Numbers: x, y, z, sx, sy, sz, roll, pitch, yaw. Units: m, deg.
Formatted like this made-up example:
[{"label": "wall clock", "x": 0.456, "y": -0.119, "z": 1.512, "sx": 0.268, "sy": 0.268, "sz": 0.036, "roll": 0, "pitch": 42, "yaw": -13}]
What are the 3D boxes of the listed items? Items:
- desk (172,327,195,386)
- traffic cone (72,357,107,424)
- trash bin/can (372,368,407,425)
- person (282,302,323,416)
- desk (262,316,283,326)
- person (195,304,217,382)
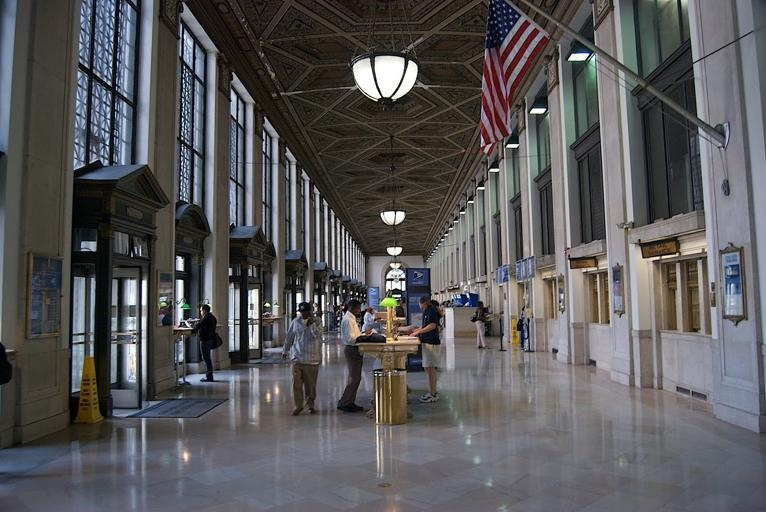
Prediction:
[{"label": "desk", "x": -4.976, "y": 2.456, "z": 14.289, "sx": 0.406, "sy": 1.390, "sz": 2.067, "roll": 0, "pitch": -8, "yaw": -19}, {"label": "traffic cone", "x": -5.366, "y": 2.443, "z": 10.552, "sx": 0.474, "sy": 1.192, "sz": 0.367, "roll": 2, "pitch": -9, "yaw": -35}, {"label": "trash bin/can", "x": 0.130, "y": 2.535, "z": 10.419, "sx": 0.717, "sy": 0.881, "sz": 0.739, "roll": 1, "pitch": -9, "yaw": -14}, {"label": "person", "x": -1.537, "y": 1.919, "z": 11.045, "sx": 0.719, "sy": 2.100, "sz": 0.654, "roll": 0, "pitch": -9, "yaw": -11}, {"label": "desk", "x": -3.911, "y": 2.230, "z": 20.546, "sx": 0.618, "sy": 0.336, "sz": 2.401, "roll": -2, "pitch": -8, "yaw": -8}, {"label": "person", "x": -4.378, "y": 2.128, "z": 14.193, "sx": 0.522, "sy": 1.890, "sz": 0.908, "roll": 0, "pitch": -8, "yaw": -19}]
